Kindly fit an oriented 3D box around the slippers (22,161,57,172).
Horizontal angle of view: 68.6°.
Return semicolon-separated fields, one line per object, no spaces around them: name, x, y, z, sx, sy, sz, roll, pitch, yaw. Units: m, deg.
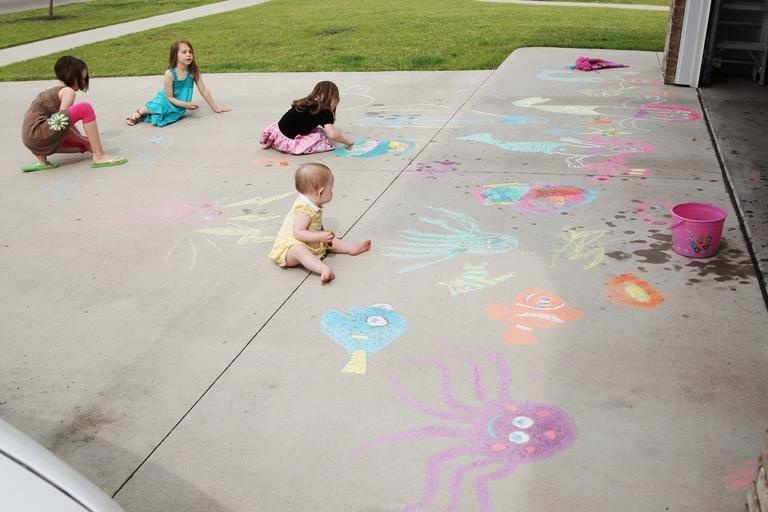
slippers;-3.336;-0.857;5.479;0.274;0.053;0.119;-8;21;-15

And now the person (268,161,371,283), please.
person;-0.367;-0.228;3.734;0.894;0.610;0.707;0;21;-15

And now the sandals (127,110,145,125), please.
sandals;-2.996;-1.646;6.827;0.189;0.084;0.257;-3;10;-10

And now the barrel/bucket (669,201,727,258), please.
barrel/bucket;2.041;-0.165;3.681;0.398;0.218;0.338;-21;30;-27

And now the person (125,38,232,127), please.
person;-2.603;-2.117;6.895;1.579;0.902;0.773;-10;37;-26

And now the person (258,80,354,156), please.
person;-0.758;-1.399;5.672;1.165;0.586;0.732;-7;43;-16

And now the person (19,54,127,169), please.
person;-3.083;-1.334;5.364;0.893;1.002;0.629;-11;39;-10

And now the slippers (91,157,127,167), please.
slippers;-2.672;-0.908;5.501;0.321;0.035;0.112;0;20;-1
